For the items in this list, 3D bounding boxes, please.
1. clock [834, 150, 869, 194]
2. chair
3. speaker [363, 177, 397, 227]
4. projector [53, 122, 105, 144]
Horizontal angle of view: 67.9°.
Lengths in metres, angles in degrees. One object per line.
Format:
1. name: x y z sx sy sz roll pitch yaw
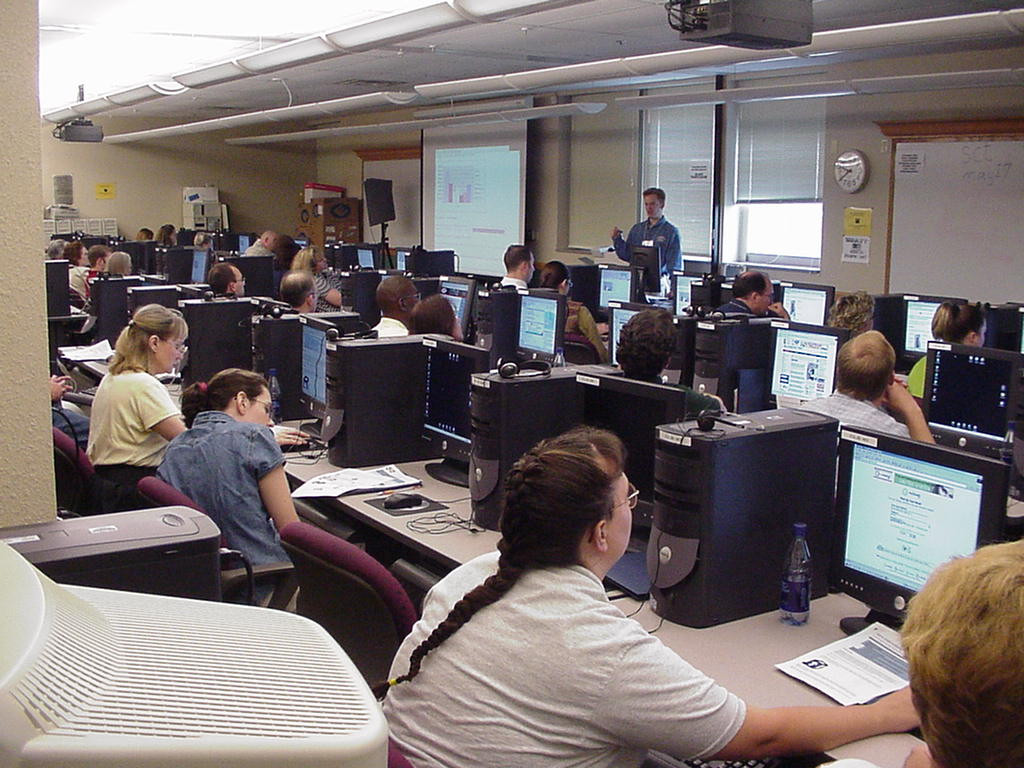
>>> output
1. clock: 3.512 -2.190 7.802 0.098 0.502 0.430 4 -11 -28
2. chair: -0.825 0.587 2.374 0.619 1.029 0.587 -19 14 -32
3. speaker: -2.377 -3.302 13.732 0.519 0.890 0.572 -7 12 -44
4. projector: -6.827 -3.991 11.885 0.531 0.415 0.992 -5 11 -36
